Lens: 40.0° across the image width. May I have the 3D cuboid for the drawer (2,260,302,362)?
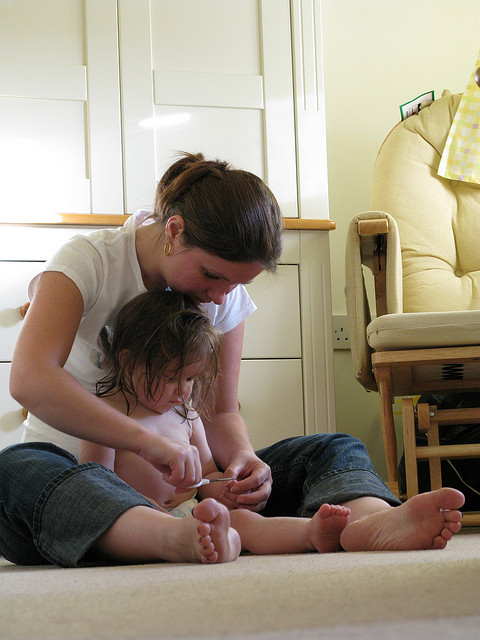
[{"bbox_3d":[-0.196,-0.022,1.583,0.712,0.245,0.057,-1,2,-13],"label":"drawer"}]

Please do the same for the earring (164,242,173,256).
[{"bbox_3d":[-0.105,-0.105,0.976,0.004,0.016,0.019,13,-9,-39],"label":"earring"}]
